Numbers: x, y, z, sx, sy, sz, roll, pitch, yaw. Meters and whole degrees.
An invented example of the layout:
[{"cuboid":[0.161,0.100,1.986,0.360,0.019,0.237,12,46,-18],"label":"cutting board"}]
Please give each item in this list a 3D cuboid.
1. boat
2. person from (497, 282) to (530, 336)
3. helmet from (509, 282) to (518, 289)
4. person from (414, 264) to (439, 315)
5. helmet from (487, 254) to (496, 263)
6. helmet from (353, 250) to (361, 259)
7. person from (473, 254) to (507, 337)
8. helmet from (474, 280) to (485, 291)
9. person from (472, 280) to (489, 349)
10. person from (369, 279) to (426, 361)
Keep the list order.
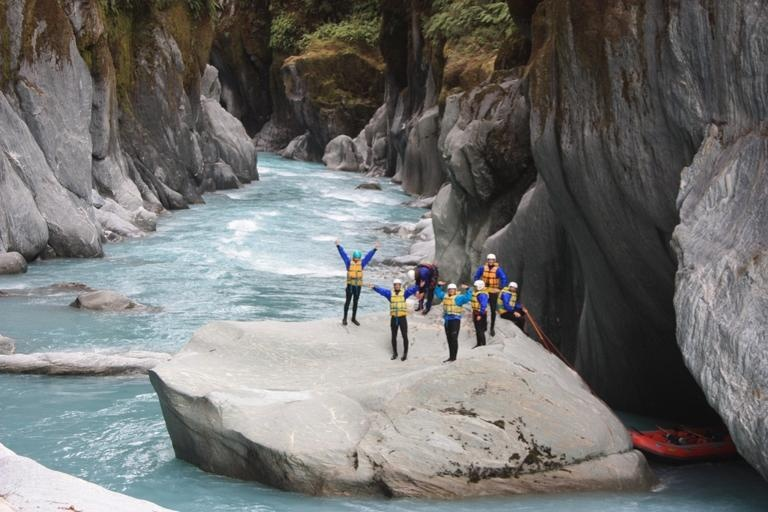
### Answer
[{"cuboid":[5.399,3.404,14.179,1.563,0.336,0.833,3,-3,-14],"label":"boat"},{"cuboid":[2.724,1.136,16.668,0.827,1.347,0.651,-1,35,0],"label":"person"},{"cuboid":[2.666,0.592,16.286,0.155,0.138,0.422,2,6,6],"label":"helmet"},{"cuboid":[0.982,0.765,18.275,0.454,0.412,1.133,-14,-20,0],"label":"person"},{"cuboid":[2.193,0.028,16.032,0.185,0.130,0.263,1,-8,9],"label":"helmet"},{"cuboid":[-0.569,-0.040,16.635,0.146,0.152,0.189,0,5,-13],"label":"helmet"},{"cuboid":[2.166,0.775,16.153,0.702,1.626,0.528,4,1,29],"label":"person"},{"cuboid":[1.830,0.550,15.108,0.193,0.158,0.140,-3,11,5],"label":"helmet"},{"cuboid":[1.836,1.109,15.146,0.295,1.280,0.698,2,7,5],"label":"person"},{"cuboid":[0.246,1.178,15.961,0.799,1.539,1.573,2,7,3],"label":"person"}]
